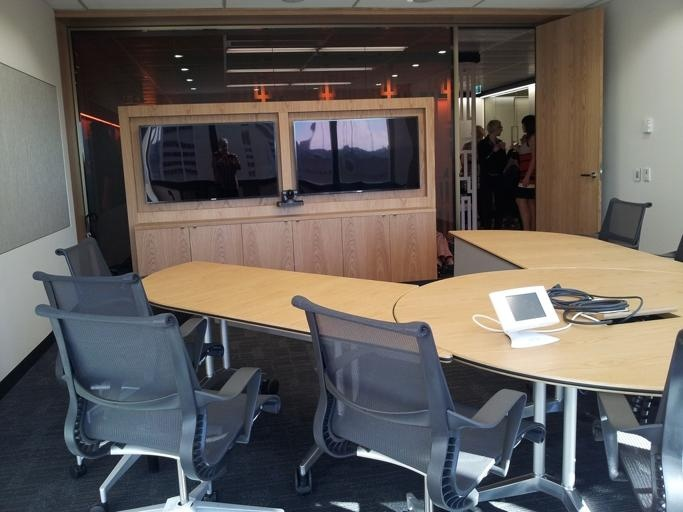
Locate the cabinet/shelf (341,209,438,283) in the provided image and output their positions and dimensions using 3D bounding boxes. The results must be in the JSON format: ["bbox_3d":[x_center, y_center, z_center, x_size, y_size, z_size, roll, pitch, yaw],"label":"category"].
[{"bbox_3d":[0.536,-0.138,6.377,0.813,0.619,0.287,-2,8,-10],"label":"cabinet/shelf"}]

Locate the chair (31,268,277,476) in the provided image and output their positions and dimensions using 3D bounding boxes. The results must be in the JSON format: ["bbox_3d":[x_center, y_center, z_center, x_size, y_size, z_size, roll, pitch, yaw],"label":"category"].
[{"bbox_3d":[-0.973,0.621,2.854,0.870,1.207,0.841,4,20,17],"label":"chair"}]

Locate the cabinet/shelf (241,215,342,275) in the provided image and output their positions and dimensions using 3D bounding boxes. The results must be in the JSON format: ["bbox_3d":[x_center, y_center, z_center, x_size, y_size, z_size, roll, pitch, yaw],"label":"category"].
[{"bbox_3d":[-0.591,-0.150,6.155,0.641,0.616,0.212,-2,7,-9],"label":"cabinet/shelf"}]

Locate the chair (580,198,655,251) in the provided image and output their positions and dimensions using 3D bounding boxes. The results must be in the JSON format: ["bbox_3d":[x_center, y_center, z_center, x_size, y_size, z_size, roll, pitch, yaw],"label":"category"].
[{"bbox_3d":[2.545,-0.302,4.981,0.496,0.691,0.451,-14,21,-31],"label":"chair"}]

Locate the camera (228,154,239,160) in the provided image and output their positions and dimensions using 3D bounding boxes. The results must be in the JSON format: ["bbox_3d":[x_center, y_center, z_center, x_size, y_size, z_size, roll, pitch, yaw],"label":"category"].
[{"bbox_3d":[-1.253,-1.143,6.335,0.073,0.101,0.090,4,2,1],"label":"camera"}]

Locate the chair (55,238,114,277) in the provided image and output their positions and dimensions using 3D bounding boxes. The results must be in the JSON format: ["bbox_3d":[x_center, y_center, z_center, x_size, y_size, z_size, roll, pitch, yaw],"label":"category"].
[{"bbox_3d":[-2.084,0.008,4.340,0.258,0.353,0.296,8,24,15],"label":"chair"}]
